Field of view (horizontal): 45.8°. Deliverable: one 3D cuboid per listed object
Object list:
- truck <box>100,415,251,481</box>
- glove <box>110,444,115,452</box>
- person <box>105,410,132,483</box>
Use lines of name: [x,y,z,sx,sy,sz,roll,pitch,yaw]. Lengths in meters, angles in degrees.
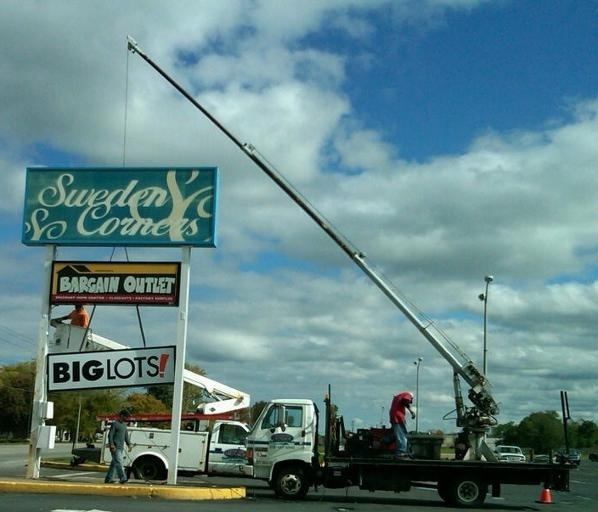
truck: [-4.250,6.519,24.026,4.662,1.430,2.206,0,-7,-3]
glove: [-5.220,5.368,19.674,0.177,0.157,0.156,5,-41,-12]
person: [-5.178,5.446,20.164,0.617,2.026,1.221,4,-16,-12]
